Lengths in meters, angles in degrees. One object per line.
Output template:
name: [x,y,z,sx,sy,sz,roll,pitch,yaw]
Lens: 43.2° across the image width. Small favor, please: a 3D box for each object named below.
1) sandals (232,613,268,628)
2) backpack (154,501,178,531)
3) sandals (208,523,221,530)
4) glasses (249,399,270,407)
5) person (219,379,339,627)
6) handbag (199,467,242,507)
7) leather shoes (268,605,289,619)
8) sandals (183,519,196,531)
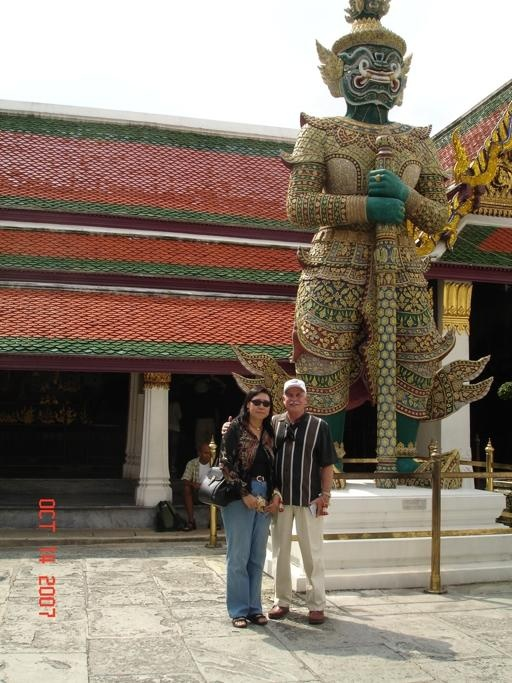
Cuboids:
sandals: [-0.040,1.838,4.263,0.190,0.040,0.089,-2,-4,-4]
backpack: [-1.274,2.464,9.037,0.371,0.411,0.259,11,-31,-43]
sandals: [-0.576,2.647,9.203,0.209,0.095,0.185,2,-11,-6]
glasses: [0.031,0.414,4.298,0.077,0.022,0.067,4,-24,-5]
person: [0.287,1.199,4.491,0.476,1.454,0.290,-2,-6,20]
handbag: [-0.262,0.964,4.300,0.176,0.268,0.387,4,-7,-31]
leather shoes: [0.152,1.895,4.497,0.060,0.062,0.165,-11,-23,25]
sandals: [-0.957,2.619,9.171,0.136,0.130,0.363,-1,-15,4]
